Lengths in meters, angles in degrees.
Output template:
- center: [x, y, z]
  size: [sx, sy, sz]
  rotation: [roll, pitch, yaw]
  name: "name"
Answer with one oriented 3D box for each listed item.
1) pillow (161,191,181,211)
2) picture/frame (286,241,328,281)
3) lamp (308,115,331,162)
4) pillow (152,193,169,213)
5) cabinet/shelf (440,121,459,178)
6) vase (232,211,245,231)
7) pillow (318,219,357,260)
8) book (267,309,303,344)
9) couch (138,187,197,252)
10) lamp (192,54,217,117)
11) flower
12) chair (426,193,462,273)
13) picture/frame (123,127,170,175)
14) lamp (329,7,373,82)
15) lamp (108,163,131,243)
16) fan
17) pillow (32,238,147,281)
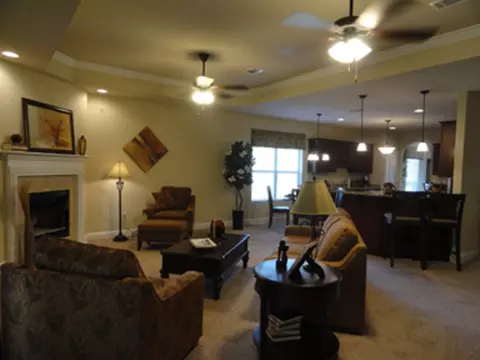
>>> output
- center: [-1.333, 0.394, 6.957]
  size: [0.341, 0.335, 0.109]
  rotation: [-3, -14, -30]
  name: "pillow"
- center: [0.670, 0.838, 3.677]
  size: [0.306, 0.336, 0.469]
  rotation: [6, -1, 21]
  name: "picture/frame"
- center: [1.963, -0.954, 9.210]
  size: [0.557, 1.032, 1.405]
  rotation: [-1, 0, 14]
  name: "lamp"
- center: [-1.498, 0.428, 6.895]
  size: [0.331, 0.327, 0.103]
  rotation: [-10, -12, 22]
  name: "pillow"
- center: [4.093, -0.601, 7.234]
  size: [0.271, 1.136, 0.642]
  rotation: [0, 1, 30]
  name: "cabinet/shelf"
- center: [-0.042, 0.893, 8.083]
  size: [0.240, 0.428, 0.335]
  rotation: [-1, 0, -2]
  name: "vase"
- center: [1.086, 0.677, 4.049]
  size: [0.165, 0.418, 0.422]
  rotation: [20, -25, -1]
  name: "pillow"
- center: [0.454, 1.466, 3.717]
  size: [0.271, 0.184, 0.282]
  rotation: [-2, 2, -1]
  name: "book"
- center: [-1.378, 0.616, 6.727]
  size: [0.891, 0.987, 1.154]
  rotation: [0, -2, 4]
  name: "couch"
- center: [-0.583, -1.598, 5.896]
  size: [0.471, 0.821, 0.476]
  rotation: [1, 3, -16]
  name: "lamp"
- center: [-0.054, -0.077, 8.101]
  size: [0.673, 1.537, 0.607]
  rotation: [-1, 1, -30]
  name: "flower"
- center: [3.199, 0.796, 5.714]
  size: [0.516, 1.184, 0.837]
  rotation: [-1, 1, 29]
  name: "chair"
- center: [-1.867, -0.577, 7.265]
  size: [0.872, 0.898, 0.064]
  rotation: [-1, 1, -33]
  name: "picture/frame"
- center: [1.359, -1.735, 4.582]
  size: [0.467, 0.738, 1.355]
  rotation: [-1, 0, 15]
  name: "lamp"
- center: [-2.259, 0.402, 6.872]
  size: [0.345, 1.518, 0.478]
  rotation: [-1, 1, -20]
  name: "lamp"
- center: [1.410, -1.758, 4.615]
  size: [1.304, 0.664, 1.273]
  rotation: [0, 6, -6]
  name: "fan"
- center: [-1.349, 0.701, 3.256]
  size: [0.527, 0.188, 0.518]
  rotation: [14, -10, -43]
  name: "pillow"
